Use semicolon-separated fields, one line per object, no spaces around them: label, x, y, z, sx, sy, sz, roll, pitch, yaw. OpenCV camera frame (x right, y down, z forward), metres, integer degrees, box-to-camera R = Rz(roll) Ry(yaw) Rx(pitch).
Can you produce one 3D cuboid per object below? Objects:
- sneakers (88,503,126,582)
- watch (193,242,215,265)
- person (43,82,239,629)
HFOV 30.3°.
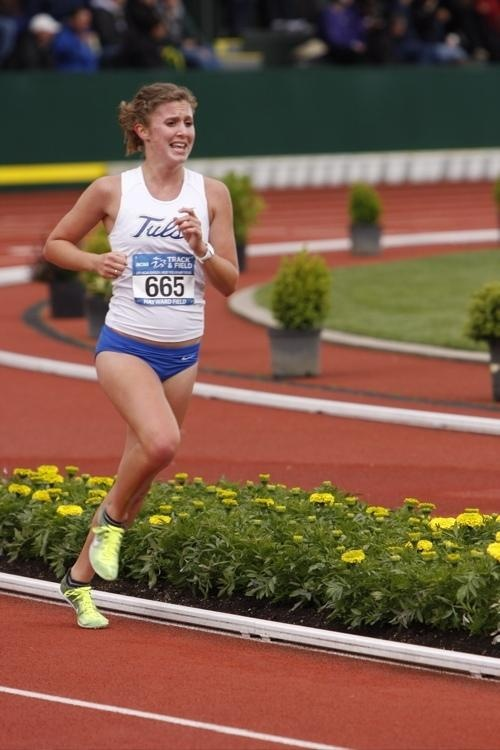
sneakers;-0.491;0.575;3.173;0.109;0.109;0.262;12;40;-24
watch;-0.138;-0.409;3.084;0.056;0.069;0.038;41;33;10
person;-0.342;-0.160;3.203;0.653;1.655;0.578;-4;14;-15
